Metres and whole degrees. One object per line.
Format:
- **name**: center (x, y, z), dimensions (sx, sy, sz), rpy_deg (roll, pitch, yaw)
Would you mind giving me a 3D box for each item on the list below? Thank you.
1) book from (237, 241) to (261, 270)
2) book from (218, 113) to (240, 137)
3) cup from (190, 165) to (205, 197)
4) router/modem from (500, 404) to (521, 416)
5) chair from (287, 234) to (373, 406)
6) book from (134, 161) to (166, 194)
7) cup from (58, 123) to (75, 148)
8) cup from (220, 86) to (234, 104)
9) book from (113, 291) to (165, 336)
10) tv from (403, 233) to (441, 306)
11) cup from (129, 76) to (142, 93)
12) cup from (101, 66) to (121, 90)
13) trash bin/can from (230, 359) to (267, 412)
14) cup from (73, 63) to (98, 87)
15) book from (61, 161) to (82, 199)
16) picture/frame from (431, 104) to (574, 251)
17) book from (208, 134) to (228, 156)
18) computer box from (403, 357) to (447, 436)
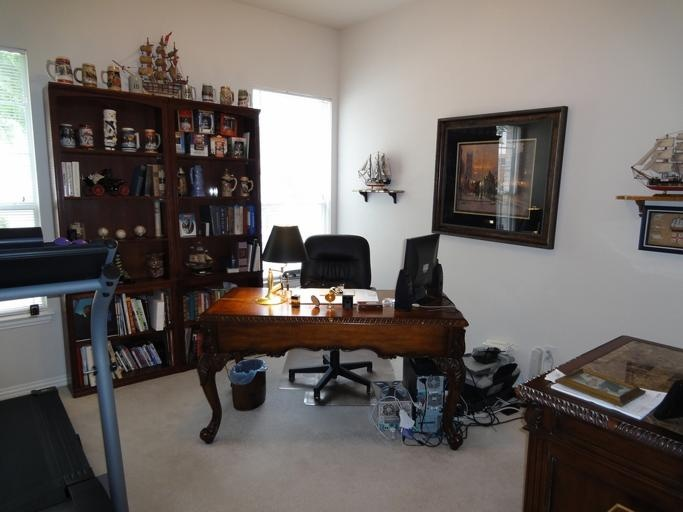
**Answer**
- **book**: center (-0.924, -0.006, 5.086), dimensions (0.241, 0.338, 0.333), rpy_deg (0, 10, -8)
- **book**: center (-1.104, -1.285, 4.866), dimensions (0.117, 0.220, 0.228), rpy_deg (6, 6, 31)
- **cup**: center (-1.372, -0.722, 4.784), dimensions (0.139, 0.296, 0.198), rpy_deg (-3, 9, -19)
- **router/modem**: center (1.402, 1.284, 4.135), dimensions (0.154, 0.044, 0.142), rpy_deg (-6, 12, 7)
- **chair**: center (-0.078, 0.540, 4.563), dimensions (0.762, 1.356, 0.768), rpy_deg (-2, 11, -9)
- **book**: center (-1.737, -0.659, 4.559), dimensions (0.240, 0.329, 0.321), rpy_deg (4, 0, -27)
- **cup**: center (-2.304, -1.010, 4.205), dimensions (0.112, 0.210, 0.213), rpy_deg (-4, 10, -26)
- **cup**: center (-1.103, -1.539, 4.793), dimensions (0.117, 0.178, 0.168), rpy_deg (-2, 9, -14)
- **book**: center (-1.819, 0.506, 4.629), dimensions (0.328, 0.479, 0.462), rpy_deg (3, 4, 28)
- **tv**: center (0.618, 0.125, 3.840), dimensions (0.161, 0.481, 0.456), rpy_deg (12, 15, 34)
- **cup**: center (-1.787, -1.502, 4.354), dimensions (0.113, 0.156, 0.109), rpy_deg (0, 9, 0)
- **cup**: center (-1.994, -1.558, 4.332), dimensions (0.155, 0.253, 0.322), rpy_deg (-4, 10, -22)
- **trash bin/can**: center (-0.775, 1.079, 4.201), dimensions (0.302, 0.342, 0.355), rpy_deg (1, 6, -12)
- **cup**: center (-2.159, -1.524, 4.222), dimensions (0.177, 0.219, 0.360), rpy_deg (-4, 10, -25)
- **book**: center (-2.266, -0.649, 4.180), dimensions (0.126, 0.278, 0.038), rpy_deg (-6, 11, -33)
- **picture/frame**: center (1.436, -0.696, 4.313), dimensions (0.093, 1.293, 1.171), rpy_deg (-9, 14, -43)
- **book**: center (-1.178, -1.066, 4.833), dimensions (0.188, 0.214, 0.071), rpy_deg (-6, 11, -35)
- **computer box**: center (0.707, 1.123, 3.911), dimensions (0.277, 0.456, 0.288), rpy_deg (1, 4, -6)
